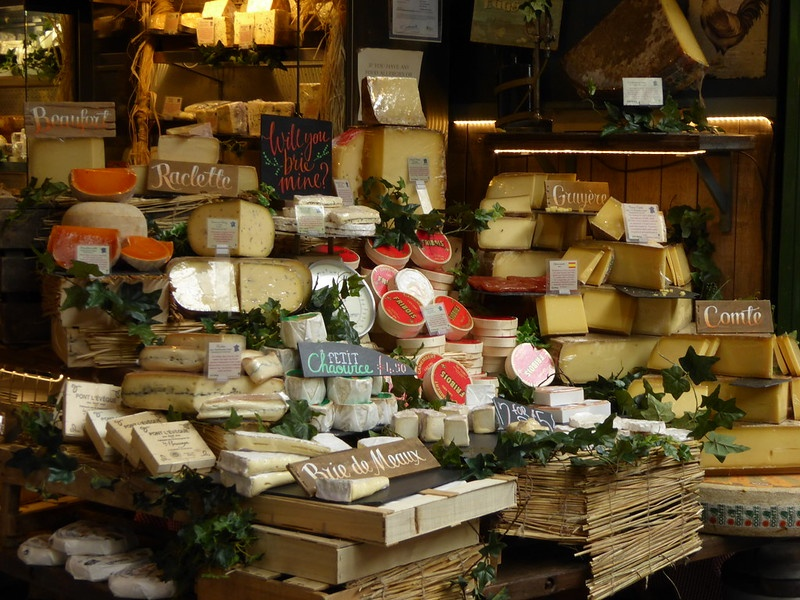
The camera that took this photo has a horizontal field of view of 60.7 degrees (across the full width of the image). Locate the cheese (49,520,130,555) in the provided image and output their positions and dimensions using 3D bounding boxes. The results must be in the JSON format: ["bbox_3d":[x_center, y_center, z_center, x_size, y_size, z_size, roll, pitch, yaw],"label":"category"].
[{"bbox_3d":[-1.083,0.838,2.389,0.131,0.029,0.127,4,3,3],"label":"cheese"}]

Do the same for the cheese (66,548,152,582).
[{"bbox_3d":[-0.972,0.883,2.271,0.177,0.044,0.172,1,-2,-35],"label":"cheese"}]

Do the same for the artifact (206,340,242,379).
[{"bbox_3d":[-0.605,0.206,2.353,0.128,0.120,0.123,-1,-3,-21],"label":"artifact"}]

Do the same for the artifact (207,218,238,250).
[{"bbox_3d":[-0.721,-0.272,2.802,0.124,0.123,0.039,-5,23,-9],"label":"artifact"}]

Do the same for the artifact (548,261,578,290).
[{"bbox_3d":[0.802,-0.125,3.471,0.151,0.142,0.147,0,2,-1],"label":"artifact"}]

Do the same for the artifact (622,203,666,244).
[{"bbox_3d":[1.276,-0.400,3.597,0.238,0.218,0.061,-2,-12,-17],"label":"artifact"}]

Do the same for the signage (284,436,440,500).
[{"bbox_3d":[-0.084,0.504,2.113,0.092,0.129,0.588,6,7,40],"label":"signage"}]

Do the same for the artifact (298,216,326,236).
[{"bbox_3d":[-0.387,-0.324,3.010,0.128,0.086,0.042,-9,24,-19],"label":"artifact"}]

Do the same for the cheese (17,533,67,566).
[{"bbox_3d":[-1.257,0.876,2.421,0.136,0.037,0.130,1,9,1],"label":"cheese"}]

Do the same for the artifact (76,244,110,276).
[{"bbox_3d":[-1.127,-0.143,2.527,0.117,0.102,0.135,-9,23,-19],"label":"artifact"}]

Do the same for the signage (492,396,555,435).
[{"bbox_3d":[0.486,0.447,2.638,0.235,0.109,0.184,-7,23,-15],"label":"signage"}]
